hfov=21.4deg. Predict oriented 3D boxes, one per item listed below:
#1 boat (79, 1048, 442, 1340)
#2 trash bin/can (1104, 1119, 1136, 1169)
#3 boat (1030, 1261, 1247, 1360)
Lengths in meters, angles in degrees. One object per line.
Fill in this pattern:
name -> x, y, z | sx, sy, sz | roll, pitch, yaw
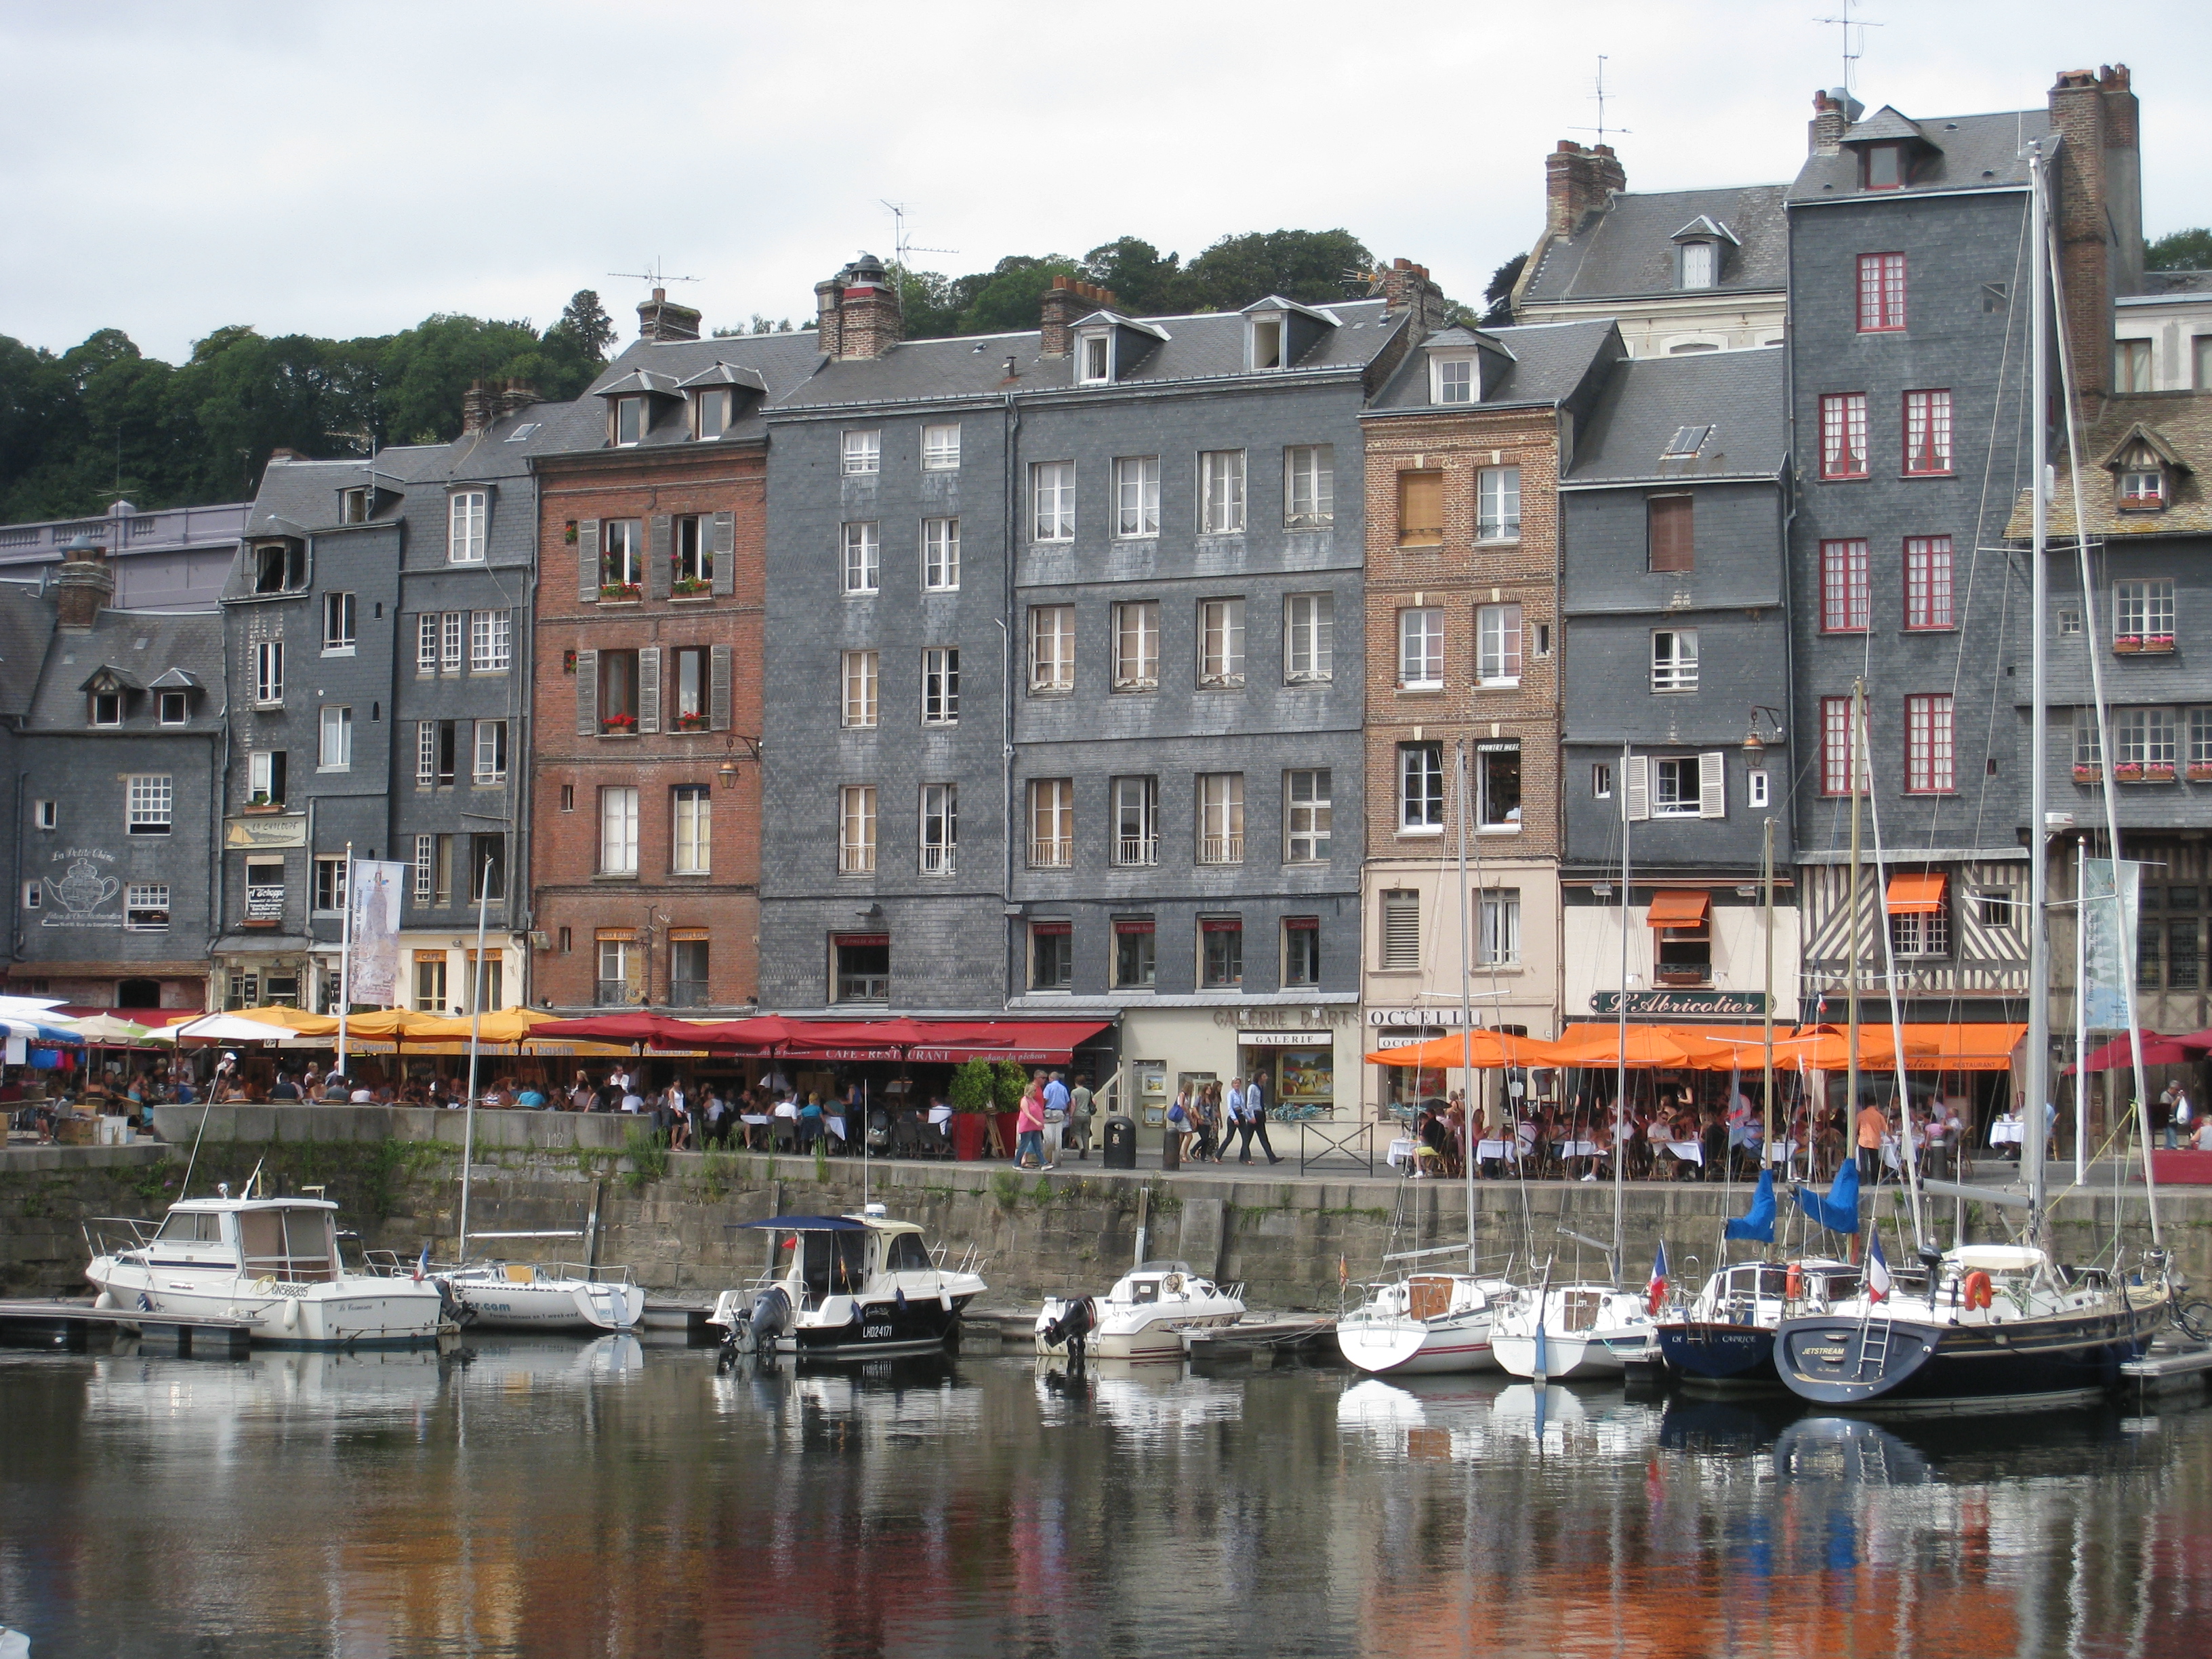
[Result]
boat -> -17.816, 9.831, 123.357 | 6.850, 3.247, 1.719 | -4, -5, 17
trash bin/can -> 0.258, 7.232, 126.191 | 0.763, 1.517, 0.791 | 0, 0, -3
boat -> 0.618, 10.213, 120.497 | 3.067, 2.056, 2.884 | -9, -9, 19
